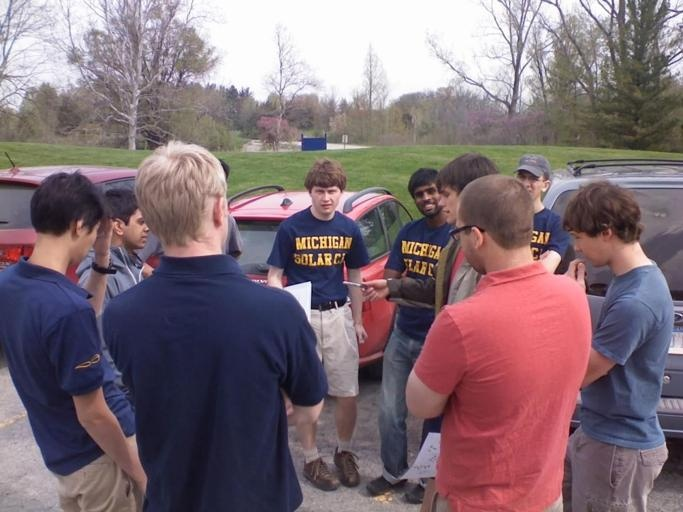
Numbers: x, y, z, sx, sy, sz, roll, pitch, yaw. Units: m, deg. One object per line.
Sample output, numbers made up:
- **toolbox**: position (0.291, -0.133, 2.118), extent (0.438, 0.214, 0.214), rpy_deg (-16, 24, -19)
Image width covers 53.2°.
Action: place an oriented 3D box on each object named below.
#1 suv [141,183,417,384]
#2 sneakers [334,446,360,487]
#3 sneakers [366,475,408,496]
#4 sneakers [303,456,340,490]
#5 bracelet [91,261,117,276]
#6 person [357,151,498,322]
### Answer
- **suv**: position (-0.150, 0.117, 6.222), extent (1.369, 1.316, 2.544), rpy_deg (3, 13, 18)
- **sneakers**: position (0.036, 1.516, 4.878), extent (0.106, 0.116, 0.301), rpy_deg (-5, 12, -13)
- **sneakers**: position (0.320, 1.574, 4.713), extent (0.242, 0.112, 0.120), rpy_deg (2, 3, -13)
- **sneakers**: position (-0.171, 1.530, 4.881), extent (0.128, 0.160, 0.325), rpy_deg (-10, 12, -39)
- **bracelet**: position (-1.315, 0.064, 3.770), extent (0.085, 0.033, 0.093), rpy_deg (21, 14, 22)
- **person**: position (0.620, -0.165, 4.221), extent (0.617, 0.572, 1.082), rpy_deg (-7, 19, 31)
